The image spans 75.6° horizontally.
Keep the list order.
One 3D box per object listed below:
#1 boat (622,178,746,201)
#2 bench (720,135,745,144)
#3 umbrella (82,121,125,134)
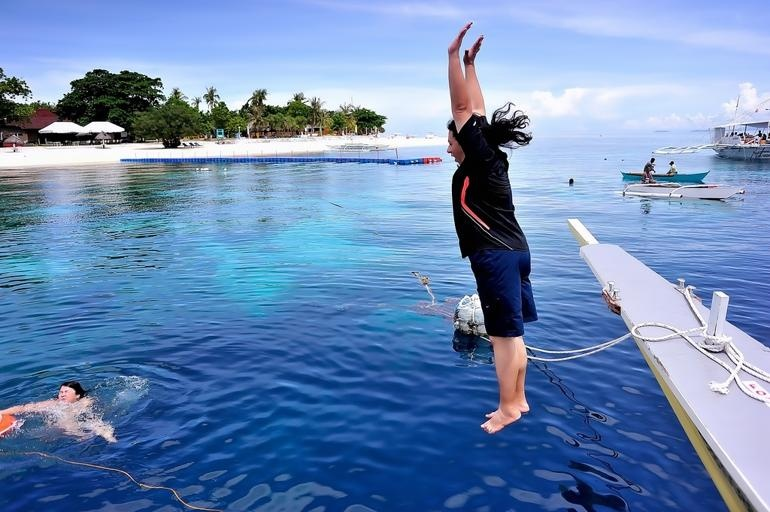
[{"bbox_3d":[16.006,-3.546,27.088,2.269,0.730,6.721,-8,10,-41],"label":"boat"},{"bbox_3d":[43.988,-14.889,63.469,2.317,0.755,2.755,0,6,20],"label":"bench"},{"bbox_3d":[-48.525,-21.973,84.573,3.428,1.833,5.911,3,13,23],"label":"umbrella"}]
